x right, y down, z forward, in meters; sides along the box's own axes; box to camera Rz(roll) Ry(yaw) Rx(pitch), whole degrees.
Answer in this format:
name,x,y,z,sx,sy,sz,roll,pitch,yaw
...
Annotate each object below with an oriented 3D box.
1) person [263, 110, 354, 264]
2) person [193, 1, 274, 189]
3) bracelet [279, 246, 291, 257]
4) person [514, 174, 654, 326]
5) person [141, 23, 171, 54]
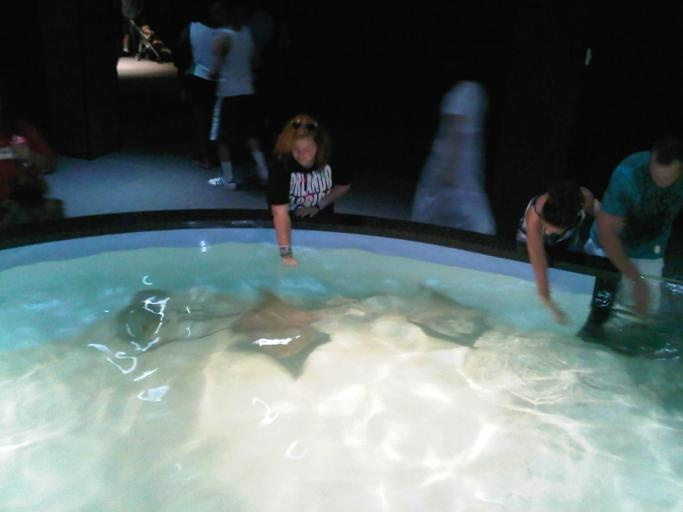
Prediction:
name,x,y,z,sx,sy,sz,roll,pitch,yaw
person,-0.227,-0.442,2.791,0.286,0.762,0.673,15,29,24
person,-1.052,-1.492,4.540,0.557,1.624,0.264,-19,34,-36
bracelet,-0.321,-0.024,2.644,0.056,0.053,0.057,1,10,10
person,1.110,-0.064,2.197,0.630,0.399,0.836,2,28,23
person,-3.904,-4.472,9.601,0.359,0.458,1.013,-10,29,-22
